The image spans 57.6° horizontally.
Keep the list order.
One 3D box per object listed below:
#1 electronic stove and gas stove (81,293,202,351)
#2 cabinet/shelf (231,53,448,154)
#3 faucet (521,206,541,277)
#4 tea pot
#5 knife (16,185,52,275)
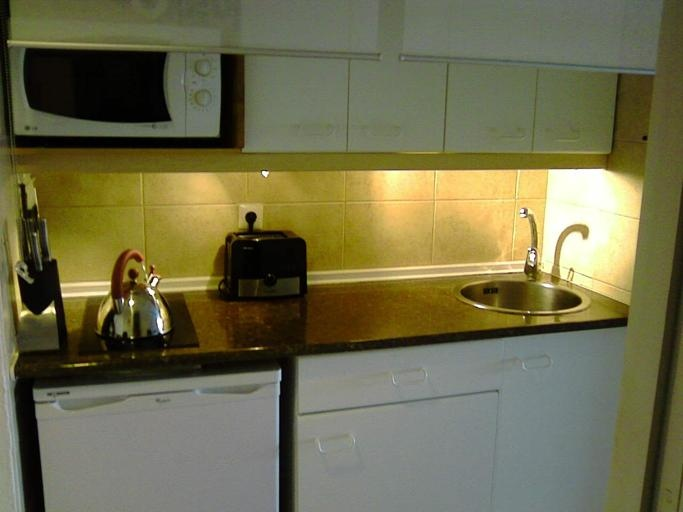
[{"bbox_3d":[-0.629,0.214,1.944,0.375,0.079,0.438,0,14,-12],"label":"electronic stove and gas stove"},{"bbox_3d":[0.009,-0.510,2.095,0.581,0.348,0.282,-2,18,-20],"label":"cabinet/shelf"},{"bbox_3d":[0.793,-0.050,2.618,0.081,0.309,0.148,5,12,24],"label":"faucet"},{"bbox_3d":[-0.664,0.124,1.974,0.204,0.328,0.210,2,16,-1],"label":"tea pot"},{"bbox_3d":[-0.869,-0.076,1.816,0.047,0.239,0.127,-2,15,-19],"label":"knife"}]
